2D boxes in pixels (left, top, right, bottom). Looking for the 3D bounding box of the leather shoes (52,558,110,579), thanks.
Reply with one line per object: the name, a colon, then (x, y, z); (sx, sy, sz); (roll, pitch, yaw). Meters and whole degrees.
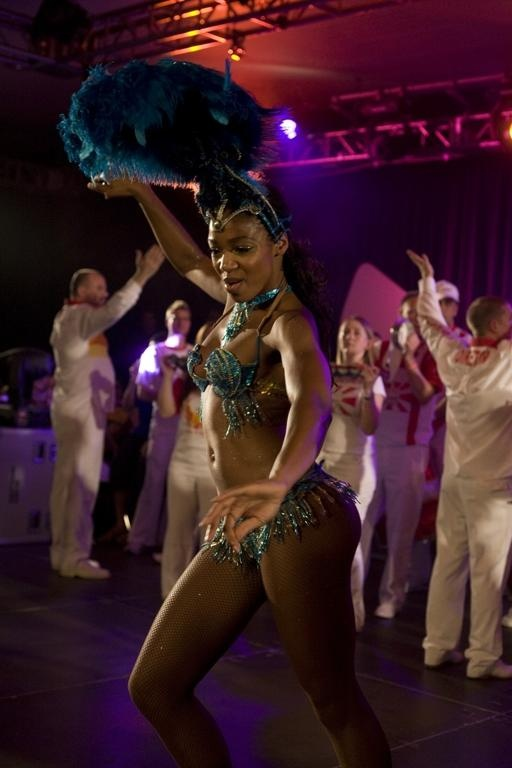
leather shoes: (-1.287, 1.382, 4.925); (0.444, 0.171, 0.138); (-12, -21, 24)
